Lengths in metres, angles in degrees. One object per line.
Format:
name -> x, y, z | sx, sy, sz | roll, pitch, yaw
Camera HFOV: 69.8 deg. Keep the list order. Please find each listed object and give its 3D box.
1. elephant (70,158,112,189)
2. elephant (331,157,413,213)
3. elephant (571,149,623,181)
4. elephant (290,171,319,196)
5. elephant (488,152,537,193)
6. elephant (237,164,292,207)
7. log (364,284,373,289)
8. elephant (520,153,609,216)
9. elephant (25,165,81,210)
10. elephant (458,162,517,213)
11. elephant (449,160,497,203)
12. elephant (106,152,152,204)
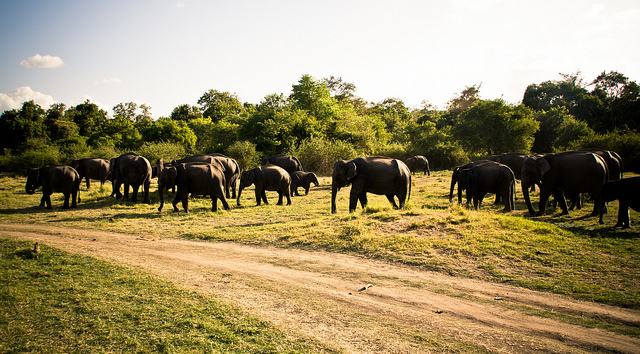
elephant -> -19.536, -0.281, 38.366 | 4.804, 2.459, 1.687 | 4, 3, 0
elephant -> 3.311, 0.730, 30.220 | 5.599, 3.758, 2.010 | -1, 4, -9
elephant -> 17.906, -0.902, 30.034 | 3.566, 1.780, 1.462 | 0, 4, 3
elephant -> -1.517, 0.542, 37.875 | 2.784, 1.916, 1.232 | -10, 16, -39
elephant -> 14.415, -0.917, 35.894 | 4.677, 2.550, 1.985 | 4, 6, 39
elephant -> -3.886, 0.479, 33.966 | 5.141, 3.716, 2.108 | 0, -3, -6
log -> 2.372, 5.367, 22.530 | 0.478, 0.119, 0.226 | -5, 13, -23
elephant -> 15.205, 0.042, 28.571 | 6.934, 4.532, 3.824 | 3, 1, 32
elephant -> -18.871, 0.608, 32.454 | 4.121, 2.820, 1.798 | 6, 14, 29
elephant -> 11.237, 0.633, 30.580 | 3.321, 2.822, 1.329 | 5, 14, 25
elephant -> 11.463, -0.027, 33.971 | 4.477, 2.274, 1.919 | -13, 6, -5
elephant -> -15.111, 0.004, 35.915 | 6.465, 3.656, 2.345 | 2, 1, 42
